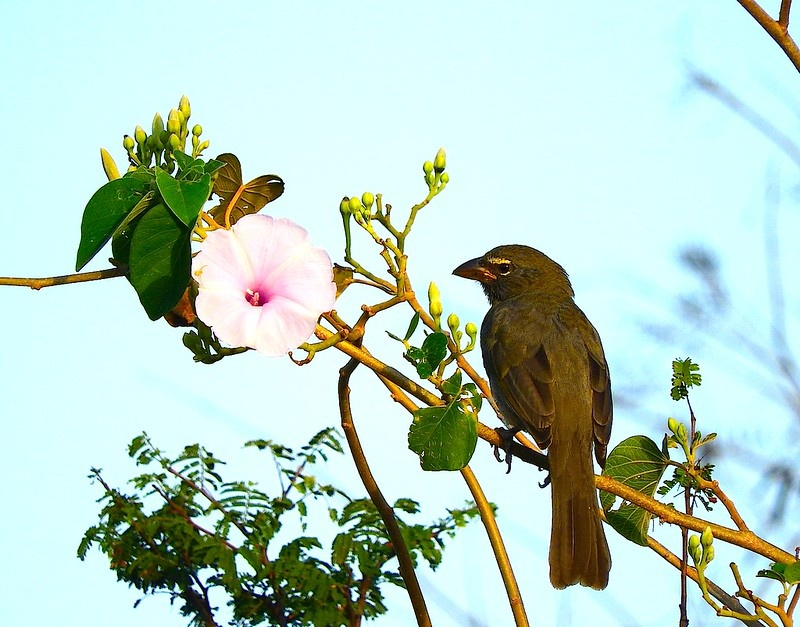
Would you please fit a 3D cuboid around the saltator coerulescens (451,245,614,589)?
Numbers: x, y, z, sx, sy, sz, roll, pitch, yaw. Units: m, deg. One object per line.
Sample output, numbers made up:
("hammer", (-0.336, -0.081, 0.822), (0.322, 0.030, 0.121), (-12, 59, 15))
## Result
("saltator coerulescens", (0.745, 0.393, 6.001), (0.698, 2.244, 0.353), (-14, -46, 5))
